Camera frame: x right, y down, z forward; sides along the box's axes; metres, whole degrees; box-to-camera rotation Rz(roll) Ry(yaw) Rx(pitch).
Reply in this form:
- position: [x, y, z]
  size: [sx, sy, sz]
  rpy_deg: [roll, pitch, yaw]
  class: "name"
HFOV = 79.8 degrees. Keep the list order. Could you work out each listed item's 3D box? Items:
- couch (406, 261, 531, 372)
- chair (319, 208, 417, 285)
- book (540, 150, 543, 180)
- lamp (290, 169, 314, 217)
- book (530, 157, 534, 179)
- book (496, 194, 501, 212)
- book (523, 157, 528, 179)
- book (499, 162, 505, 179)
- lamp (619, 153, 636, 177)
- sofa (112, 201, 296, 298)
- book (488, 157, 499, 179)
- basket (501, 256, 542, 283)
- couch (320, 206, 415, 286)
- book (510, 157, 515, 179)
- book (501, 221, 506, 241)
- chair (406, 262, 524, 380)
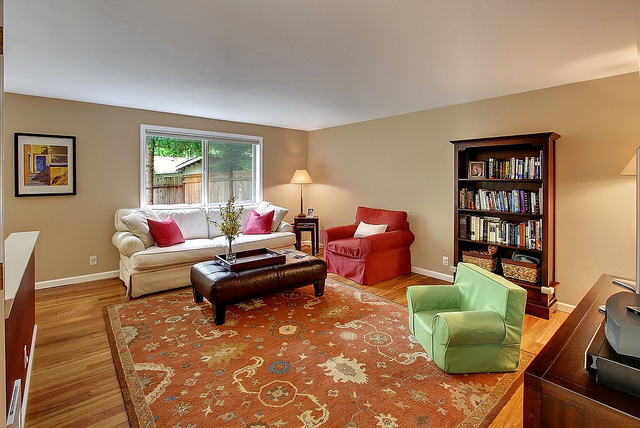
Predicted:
- position: [1.449, 1.005, 3.975]
  size: [1.061, 0.902, 1.063]
  rpy_deg: [1, 2, -9]
  class: "couch"
- position: [0.818, 0.350, 6.357]
  size: [1.227, 1.139, 1.325]
  rpy_deg: [-2, 4, -39]
  class: "chair"
- position: [2.728, -0.608, 4.736]
  size: [0.034, 0.356, 0.165]
  rpy_deg: [3, 7, 22]
  class: "book"
- position: [-0.361, -0.437, 7.654]
  size: [0.489, 0.888, 0.898]
  rpy_deg: [0, 6, -4]
  class: "lamp"
- position: [2.658, -0.579, 4.804]
  size: [0.047, 0.195, 0.202]
  rpy_deg: [7, 17, 33]
  class: "book"
- position: [2.376, -0.156, 5.114]
  size: [0.016, 0.215, 0.071]
  rpy_deg: [-5, 9, -37]
  class: "book"
- position: [2.608, -0.581, 4.861]
  size: [0.046, 0.192, 0.202]
  rpy_deg: [3, 6, 33]
  class: "book"
- position: [2.400, -0.582, 5.062]
  size: [0.037, 0.152, 0.155]
  rpy_deg: [5, 22, 15]
  class: "book"
- position: [2.512, -0.388, 3.124]
  size: [0.085, 0.149, 0.382]
  rpy_deg: [5, 8, 37]
  class: "lamp"
- position: [-1.763, 0.428, 6.302]
  size: [2.796, 1.270, 1.210]
  rpy_deg: [-5, 4, -36]
  class: "sofa"
- position: [2.297, -0.602, 5.131]
  size: [0.041, 0.258, 0.095]
  rpy_deg: [-6, 10, -44]
  class: "book"
- position: [2.609, 0.734, 5.003]
  size: [0.302, 0.232, 0.428]
  rpy_deg: [13, -12, -19]
  class: "basket"
- position: [0.718, 0.524, 6.334]
  size: [1.247, 1.203, 1.300]
  rpy_deg: [-1, 3, -39]
  class: "couch"
- position: [2.500, -0.594, 4.983]
  size: [0.046, 0.196, 0.202]
  rpy_deg: [4, 10, 33]
  class: "book"
- position: [2.440, 0.230, 5.108]
  size: [0.043, 0.176, 0.184]
  rpy_deg: [1, 4, 28]
  class: "book"
- position: [1.476, 1.061, 4.055]
  size: [0.877, 0.793, 1.072]
  rpy_deg: [-3, 10, -11]
  class: "chair"
